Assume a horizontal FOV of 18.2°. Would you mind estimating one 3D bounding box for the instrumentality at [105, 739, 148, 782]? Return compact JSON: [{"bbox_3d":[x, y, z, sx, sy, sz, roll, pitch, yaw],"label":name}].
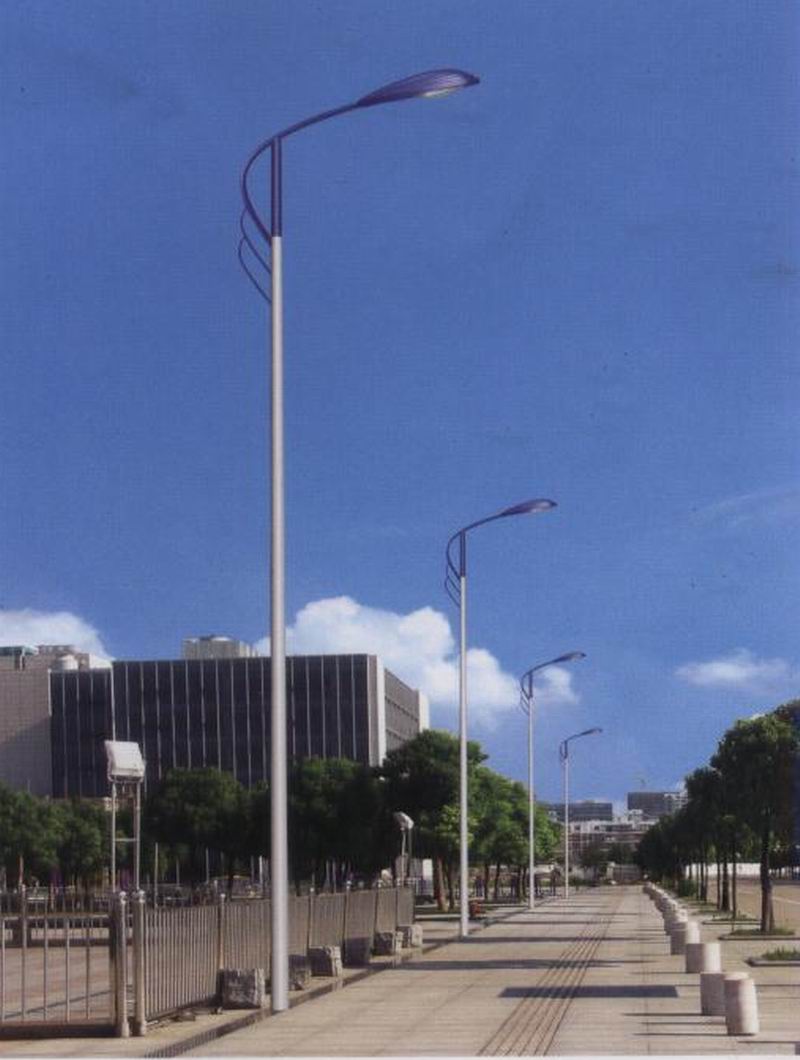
[{"bbox_3d":[-7.240,6.118,65.798,0.878,1.338,3.203,-3,-14,-5],"label":"instrumentality"}]
